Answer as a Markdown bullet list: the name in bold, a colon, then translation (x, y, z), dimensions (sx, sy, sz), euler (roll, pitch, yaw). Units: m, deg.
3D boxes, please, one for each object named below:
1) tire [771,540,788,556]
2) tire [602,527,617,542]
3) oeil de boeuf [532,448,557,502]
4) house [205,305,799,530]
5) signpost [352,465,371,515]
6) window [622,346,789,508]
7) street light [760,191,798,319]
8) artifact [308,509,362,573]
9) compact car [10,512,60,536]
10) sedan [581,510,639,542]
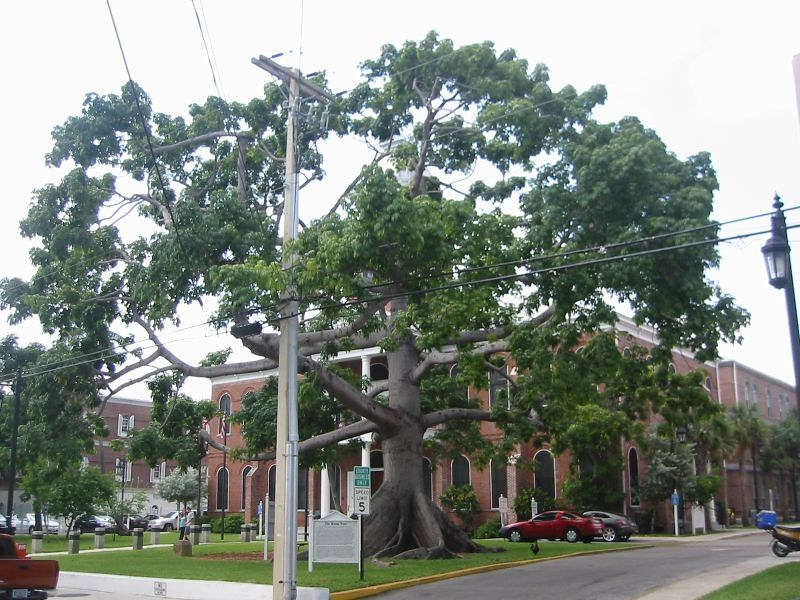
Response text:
- **tire**: translation (14.173, 9.394, 33.246), dimensions (0.531, 0.553, 0.168), euler (-39, 10, -25)
- **tire**: translation (10.018, 11.257, 42.382), dimensions (0.679, 0.744, 0.271), euler (-25, -8, 22)
- **oeil de boeuf**: translation (8.633, 10.732, 53.116), dimensions (1.358, 3.741, 0.229), euler (-4, -42, 11)
- **house**: translation (11.671, 9.455, 62.547), dimensions (48.558, 14.353, 23.252), euler (5, -20, -16)
- **signpost**: translation (-1.178, 5.771, 26.787), dimensions (0.471, 1.485, 0.896), euler (1, -18, -6)
- **window**: translation (17.373, 7.950, 51.027), dimensions (6.015, 12.345, 11.473), euler (-8, -13, 43)
- **street light**: translation (9.301, -1.247, 21.873), dimensions (0.651, 3.127, 1.444), euler (-8, -19, 24)
- **artifact**: translation (-2.010, 7.395, 27.534), dimensions (1.595, 1.487, 0.724), euler (1, -18, -4)
- **compact car**: translation (-24.966, 15.375, 60.640), dimensions (2.854, 1.917, 5.459), euler (10, -23, -28)
- **sedan**: translation (10.085, 11.089, 42.995), dimensions (2.836, 1.102, 1.327), euler (0, -16, 10)
